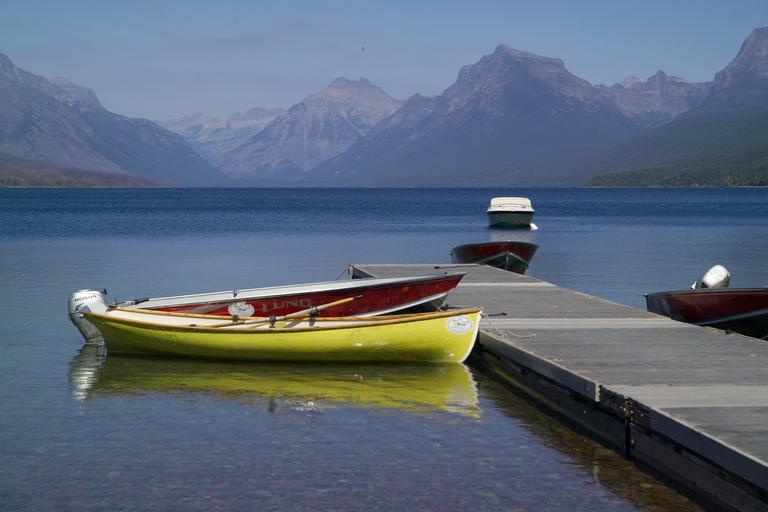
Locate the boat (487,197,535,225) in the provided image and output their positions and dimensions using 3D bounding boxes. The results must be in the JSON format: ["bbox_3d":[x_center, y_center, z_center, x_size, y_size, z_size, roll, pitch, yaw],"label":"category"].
[{"bbox_3d":[13.698,-4.904,98.692,4.499,3.214,5.246,3,3,1],"label":"boat"}]

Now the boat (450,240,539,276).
[{"bbox_3d":[6.112,0.122,49.524,3.476,1.042,5.781,0,-2,-8],"label":"boat"}]
